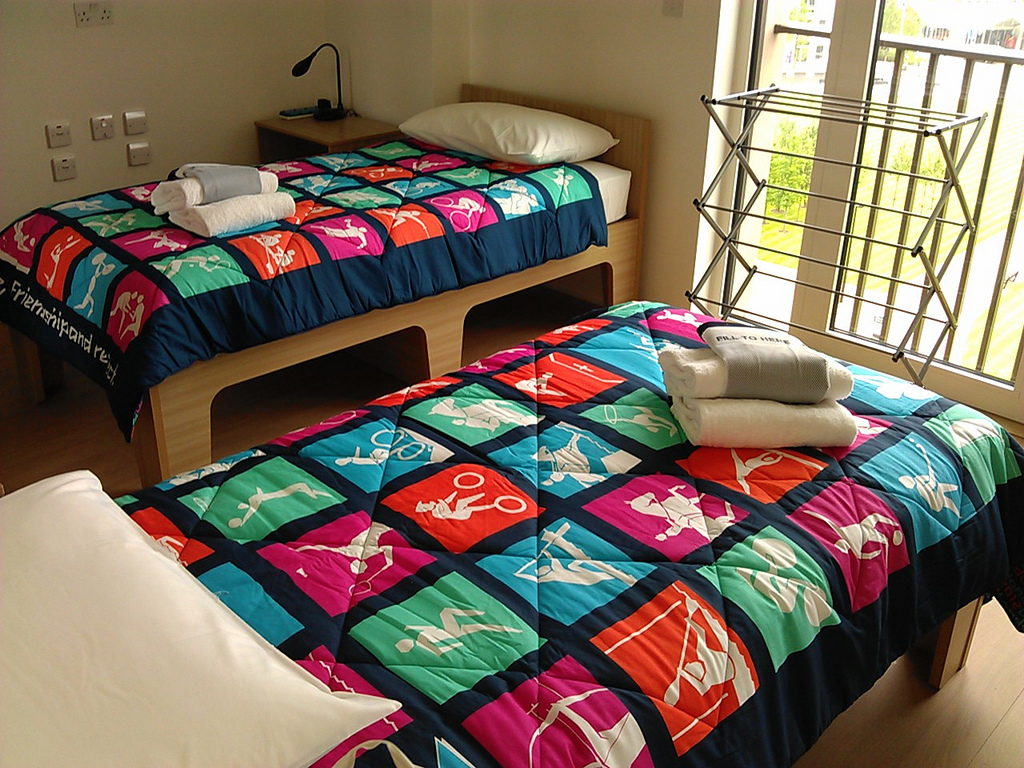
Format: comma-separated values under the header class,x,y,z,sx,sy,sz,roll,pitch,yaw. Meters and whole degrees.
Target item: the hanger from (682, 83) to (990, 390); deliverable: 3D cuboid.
class,x,y,z,sx,sy,sz,roll,pitch,yaw
hanger,1.390,-0.645,2.941,1.182,1.037,0.571,18,37,30
